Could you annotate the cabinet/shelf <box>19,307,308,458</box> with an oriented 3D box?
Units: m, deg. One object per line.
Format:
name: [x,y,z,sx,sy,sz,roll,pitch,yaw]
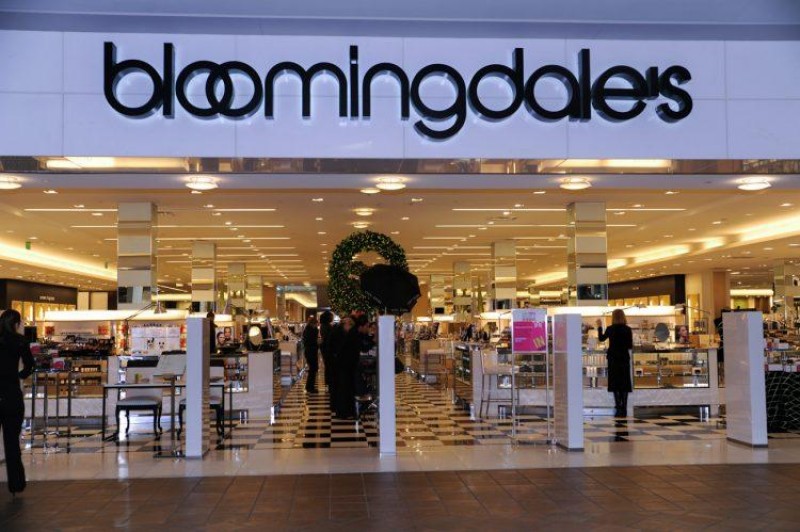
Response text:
cabinet/shelf: [-4.464,1.804,12.675,4.510,2.155,5.943,-1,1,0]

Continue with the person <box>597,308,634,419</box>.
person: [3.921,1.749,12.983,0.561,2.001,1.029,-1,0,17]

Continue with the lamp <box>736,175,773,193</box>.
lamp: [5.296,-1.262,10.667,0.491,0.147,0.800,0,1,26]

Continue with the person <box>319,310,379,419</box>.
person: [-1.010,1.840,13.083,0.828,1.476,1.707,-1,1,-7]
